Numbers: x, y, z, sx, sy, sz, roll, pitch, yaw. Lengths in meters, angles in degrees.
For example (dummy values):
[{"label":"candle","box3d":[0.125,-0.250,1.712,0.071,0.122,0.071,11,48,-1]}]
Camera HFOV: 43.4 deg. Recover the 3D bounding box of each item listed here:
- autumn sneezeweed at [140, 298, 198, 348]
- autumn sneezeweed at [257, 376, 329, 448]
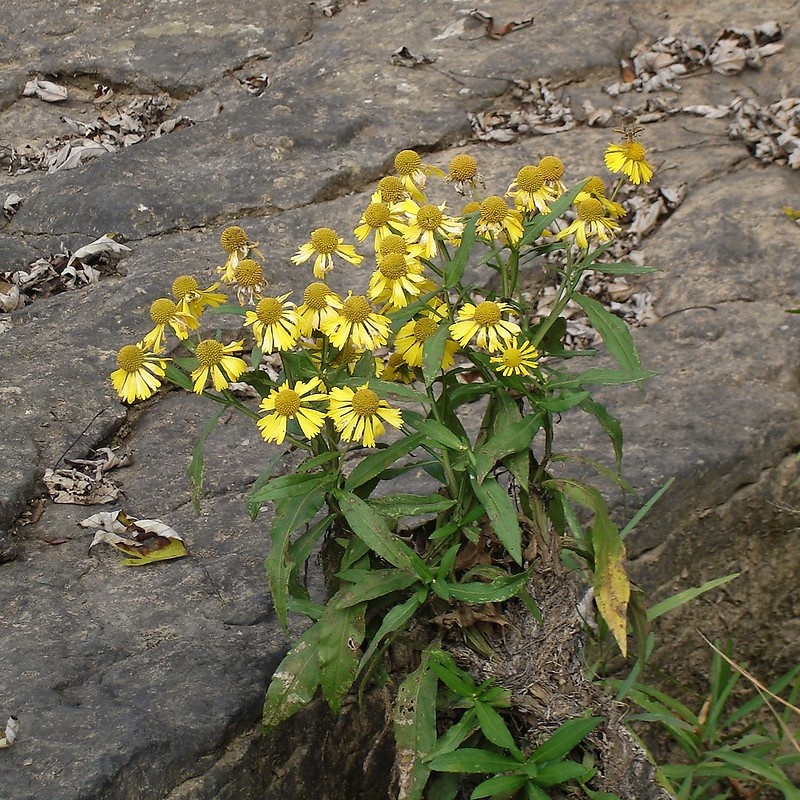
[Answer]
[{"label":"autumn sneezeweed","box3d":[-0.709,-0.241,3.050,0.211,0.097,0.160,-27,16,-8]},{"label":"autumn sneezeweed","box3d":[-0.314,0.022,2.883,0.264,0.069,0.224,-17,33,11]}]
